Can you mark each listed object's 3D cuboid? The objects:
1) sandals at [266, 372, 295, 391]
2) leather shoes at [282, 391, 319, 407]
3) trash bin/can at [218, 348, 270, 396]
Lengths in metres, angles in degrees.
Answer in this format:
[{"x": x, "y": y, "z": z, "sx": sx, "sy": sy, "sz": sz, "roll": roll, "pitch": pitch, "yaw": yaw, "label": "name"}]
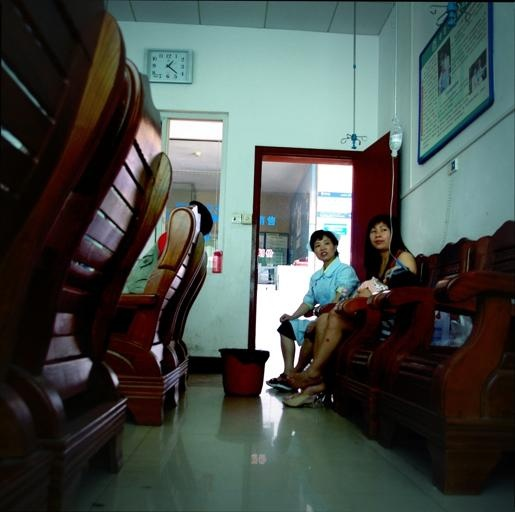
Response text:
[{"x": 0.159, "y": 0.888, "z": 2.831, "sx": 0.176, "sy": 0.093, "sz": 0.142, "roll": 14, "pitch": -2, "yaw": -9, "label": "sandals"}, {"x": 0.248, "y": 0.807, "z": 2.341, "sx": 0.198, "sy": 0.106, "sz": 0.085, "roll": 3, "pitch": -6, "yaw": -8, "label": "leather shoes"}, {"x": -0.095, "y": 0.748, "z": 2.588, "sx": 0.232, "sy": 0.244, "sz": 0.284, "roll": 2, "pitch": -19, "yaw": 3, "label": "trash bin/can"}]
